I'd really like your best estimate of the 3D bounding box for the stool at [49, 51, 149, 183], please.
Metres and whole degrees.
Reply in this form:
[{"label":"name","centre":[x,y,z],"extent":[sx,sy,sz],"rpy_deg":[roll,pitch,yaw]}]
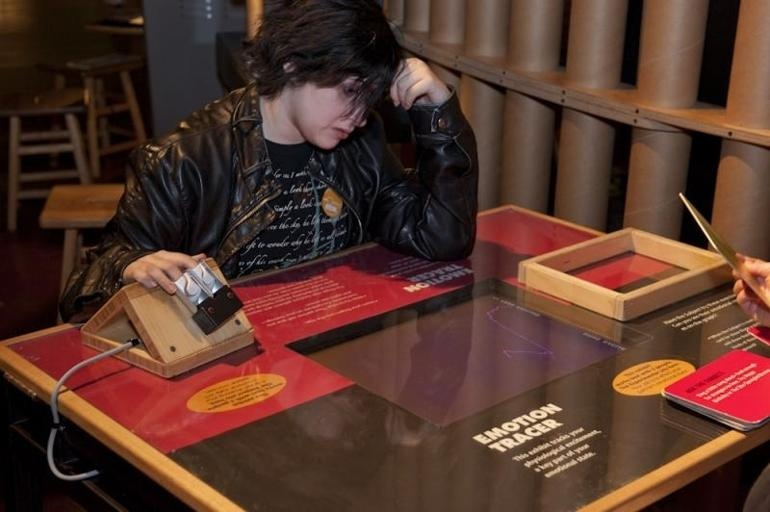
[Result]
[{"label":"stool","centre":[-1.819,-0.940,4.316],"extent":[0.852,0.678,0.855],"rpy_deg":[-12,15,-13]}]
